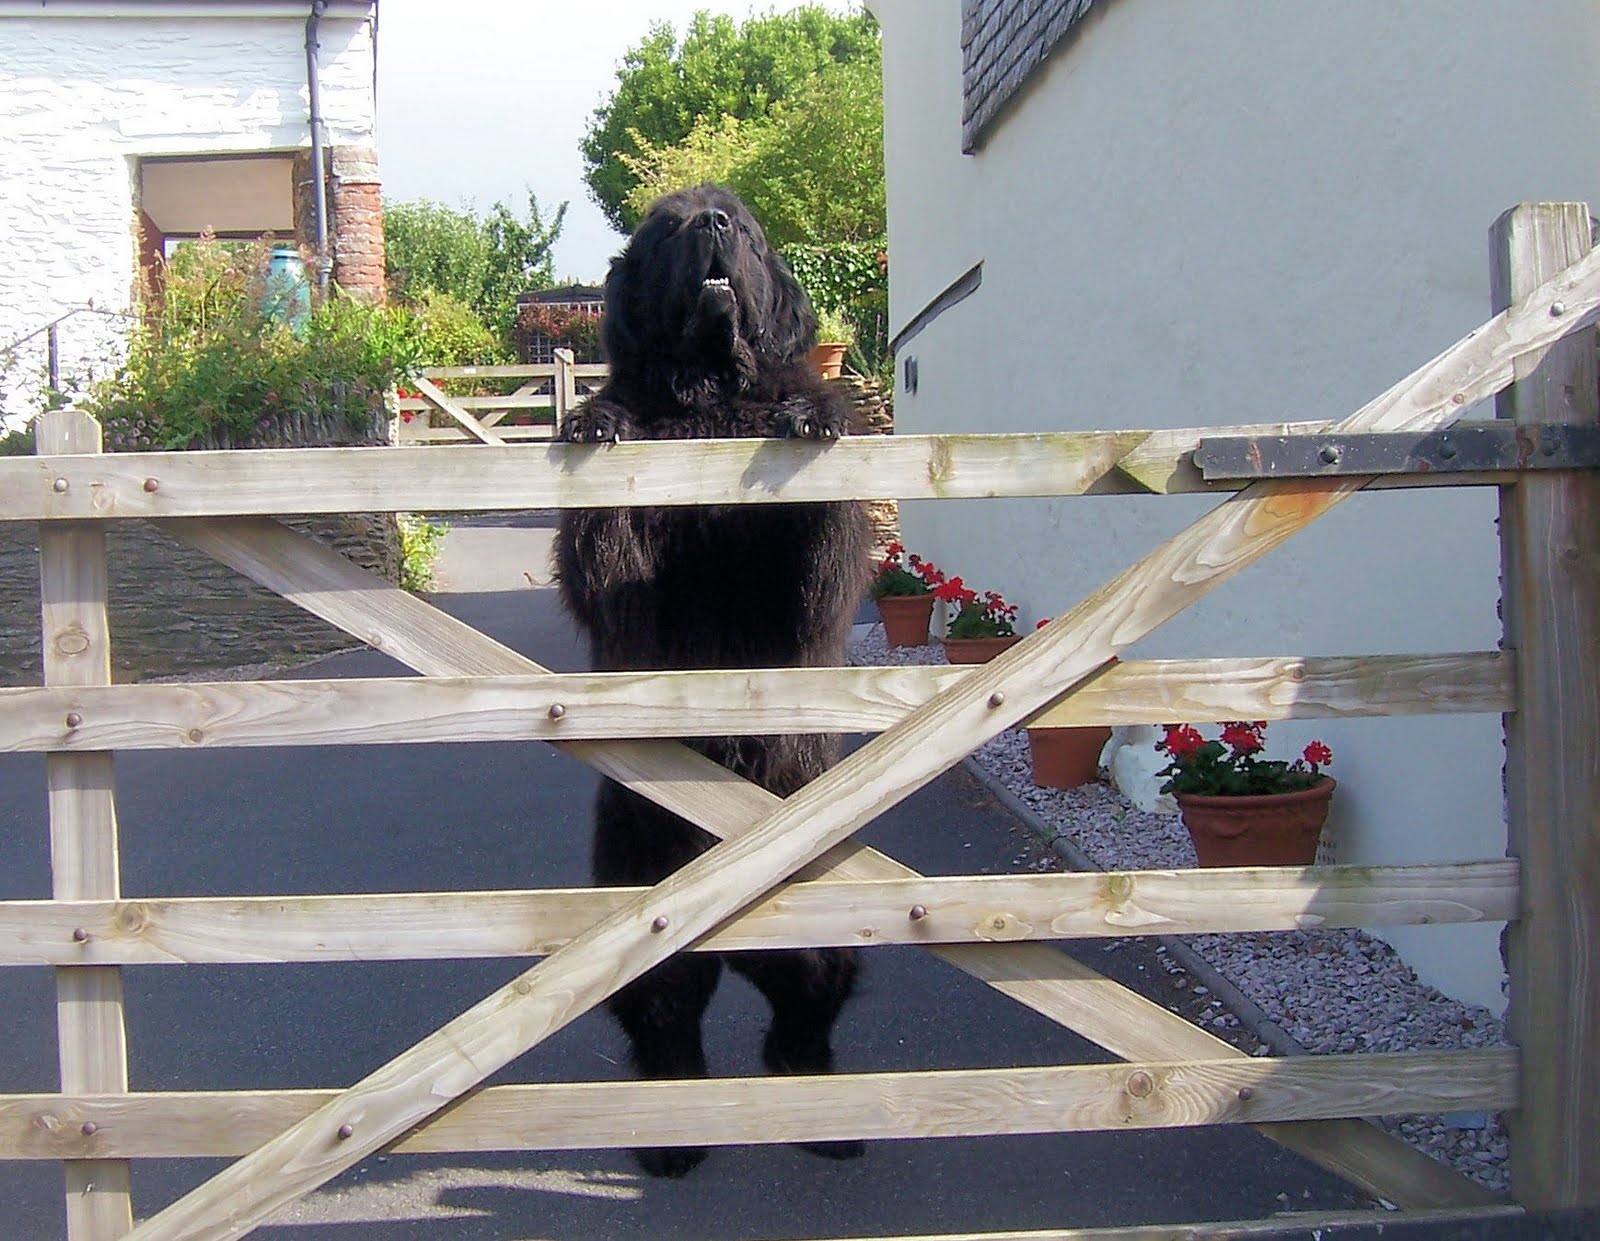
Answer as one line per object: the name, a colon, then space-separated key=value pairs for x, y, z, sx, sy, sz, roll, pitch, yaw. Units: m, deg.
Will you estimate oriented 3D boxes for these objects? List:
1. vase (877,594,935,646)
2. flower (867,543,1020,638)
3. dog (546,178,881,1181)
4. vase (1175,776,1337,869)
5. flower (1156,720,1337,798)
vase: x=0.668 y=0.002 z=15.225 sx=0.327 sy=0.230 sz=0.321 roll=-3 pitch=-6 yaw=27
flower: x=0.854 y=-0.159 z=14.239 sx=0.735 sy=0.306 sz=0.480 roll=24 pitch=0 yaw=44
dog: x=-0.286 y=0.218 z=8.852 sx=1.107 sy=3.481 sz=0.935 roll=-2 pitch=9 yaw=-4
vase: x=1.885 y=0.791 z=10.117 sx=0.455 sy=0.259 sz=0.439 roll=-1 pitch=-3 yaw=-24
flower: x=1.812 y=0.591 z=10.268 sx=0.440 sy=0.152 sz=0.447 roll=-10 pitch=-3 yaw=23
